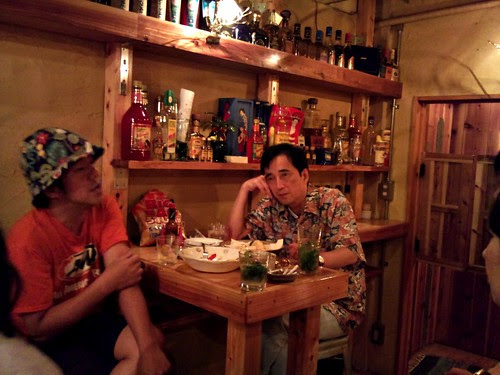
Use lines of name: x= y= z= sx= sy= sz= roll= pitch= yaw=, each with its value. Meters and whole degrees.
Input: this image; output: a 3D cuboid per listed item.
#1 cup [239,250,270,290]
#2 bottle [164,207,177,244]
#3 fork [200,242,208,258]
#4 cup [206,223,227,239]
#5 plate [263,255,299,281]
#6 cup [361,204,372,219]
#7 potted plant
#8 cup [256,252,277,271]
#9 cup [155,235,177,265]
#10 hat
cup: x=0.017 y=0.344 z=1.712 sx=0.141 sy=0.159 sz=0.140 roll=0 pitch=-2 yaw=0
bottle: x=-0.479 y=0.230 z=2.388 sx=0.091 sy=0.207 sz=0.157 roll=-2 pitch=-5 yaw=9
fork: x=-0.236 y=0.310 z=2.048 sx=0.024 sy=0.014 sz=0.119 roll=-8 pitch=32 yaw=-10
cup: x=-0.212 y=0.276 z=2.588 sx=0.103 sy=0.104 sz=0.104 roll=2 pitch=1 yaw=0
plate: x=0.137 y=0.379 z=1.824 sx=0.113 sy=0.041 sz=0.122 roll=-6 pitch=11 yaw=-41
cup: x=1.149 y=0.228 z=3.956 sx=0.118 sy=0.134 sz=0.125 roll=0 pitch=2 yaw=0
potted plant: x=-0.227 y=-0.330 z=2.728 sx=0.304 sy=0.391 sz=0.313 roll=4 pitch=4 yaw=43
cup: x=0.072 y=0.327 z=1.766 sx=0.102 sy=0.074 sz=0.103 roll=1 pitch=2 yaw=0
cup: x=-0.425 y=0.317 z=2.116 sx=0.133 sy=0.151 sz=0.129 roll=0 pitch=3 yaw=0
hat: x=-0.898 y=-0.091 z=1.851 sx=0.298 sy=0.368 sz=0.147 roll=-5 pitch=9 yaw=-31
